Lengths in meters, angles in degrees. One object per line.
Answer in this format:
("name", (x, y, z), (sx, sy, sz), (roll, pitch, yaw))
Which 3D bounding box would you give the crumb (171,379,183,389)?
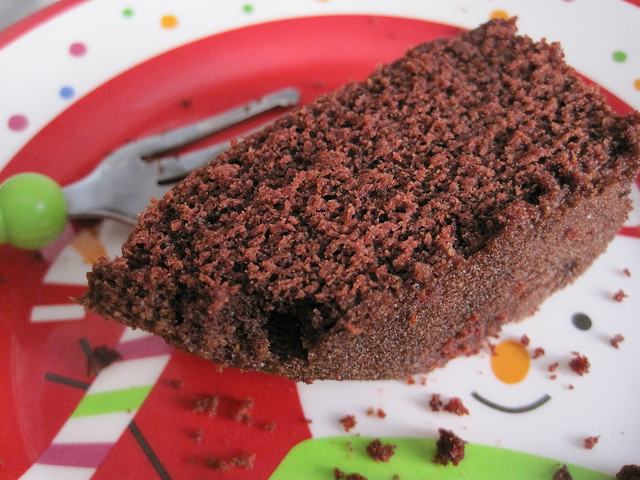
("crumb", (-0.573, 0.577, 2.956), (0.030, 0.008, 0.033), (0, 51, 4))

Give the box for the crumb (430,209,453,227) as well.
("crumb", (0.455, -0.086, 2.786), (0.050, 0.020, 0.070), (21, 78, 0))

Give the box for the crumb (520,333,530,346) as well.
("crumb", (0.842, 0.416, 3.041), (0.038, 0.009, 0.042), (-14, 79, 9))

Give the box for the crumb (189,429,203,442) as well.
("crumb", (-0.482, 0.762, 2.882), (0.052, 0.015, 0.043), (24, 85, 5))

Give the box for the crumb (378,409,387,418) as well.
("crumb", (0.246, 0.699, 2.945), (0.033, 0.020, 0.026), (42, 87, 6))

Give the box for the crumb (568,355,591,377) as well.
("crumb", (1.055, 0.509, 2.990), (0.070, 0.032, 0.075), (-1, 80, 0))

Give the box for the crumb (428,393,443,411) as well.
("crumb", (0.469, 0.652, 2.938), (0.048, 0.020, 0.056), (-1, 89, -14))

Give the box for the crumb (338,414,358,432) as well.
("crumb", (0.111, 0.729, 2.927), (0.049, 0.023, 0.064), (-4, 76, 2))

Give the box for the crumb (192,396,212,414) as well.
("crumb", (-0.472, 0.652, 2.923), (0.048, 0.024, 0.075), (22, 54, 18))

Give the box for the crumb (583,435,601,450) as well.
("crumb", (1.057, 0.792, 2.884), (0.048, 0.020, 0.034), (-30, 51, -15))

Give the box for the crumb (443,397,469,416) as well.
("crumb", (0.544, 0.674, 2.940), (0.072, 0.024, 0.068), (-35, 77, -21))

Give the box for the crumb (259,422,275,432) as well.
("crumb", (-0.216, 0.742, 2.916), (0.036, 0.011, 0.037), (-25, 52, -18))

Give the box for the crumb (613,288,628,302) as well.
("crumb", (1.252, 0.237, 3.099), (0.039, 0.011, 0.044), (0, 75, 14))
